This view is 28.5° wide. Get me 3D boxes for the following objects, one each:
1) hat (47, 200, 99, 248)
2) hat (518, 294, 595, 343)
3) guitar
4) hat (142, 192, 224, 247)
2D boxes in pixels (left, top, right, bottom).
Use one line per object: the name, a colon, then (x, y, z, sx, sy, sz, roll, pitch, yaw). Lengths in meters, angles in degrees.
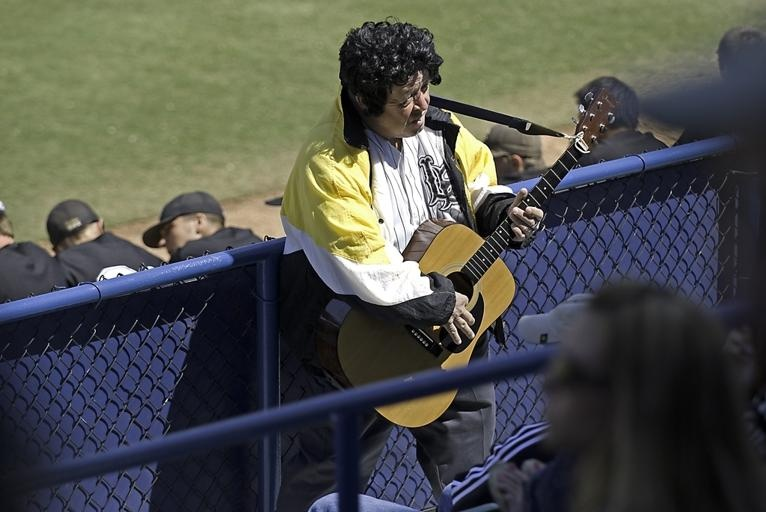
hat: (-1.848, -0.182, 9.018, 0.292, 0.218, 0.454, -11, 25, 0)
hat: (0.666, 0.254, 5.750, 0.258, 0.091, 0.163, -25, 34, 22)
guitar: (0.568, -0.154, 7.559, 2.291, 0.880, 0.330, -50, 24, -19)
hat: (-1.256, -0.256, 9.350, 0.444, 0.209, 0.323, -18, -11, 2)
